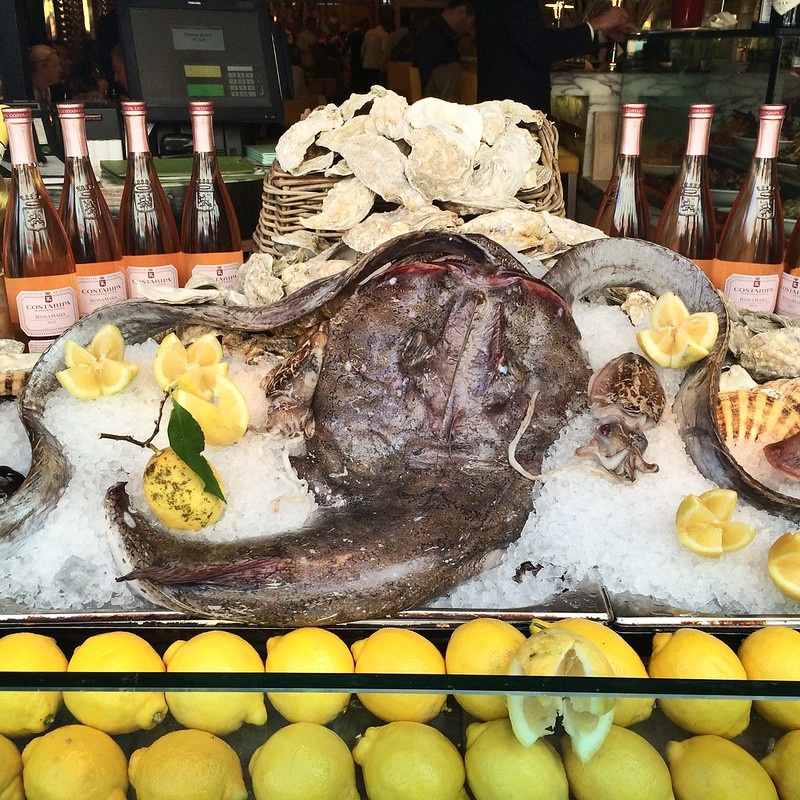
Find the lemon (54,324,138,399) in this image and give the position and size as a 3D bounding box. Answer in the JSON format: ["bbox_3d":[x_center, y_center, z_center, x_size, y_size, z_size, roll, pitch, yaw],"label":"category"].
[{"bbox_3d":[-0.421,-0.048,1.005,0.102,0.108,0.039,33,-10,-14],"label":"lemon"}]

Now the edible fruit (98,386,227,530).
[{"bbox_3d":[-0.299,0.095,0.930,0.117,0.176,0.102,-21,8,-17],"label":"edible fruit"}]
